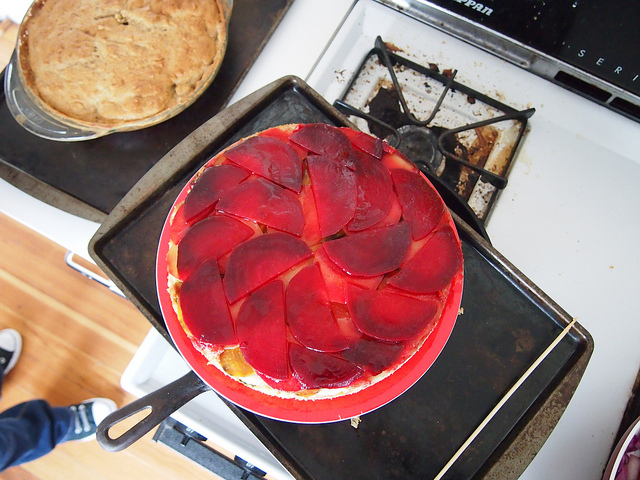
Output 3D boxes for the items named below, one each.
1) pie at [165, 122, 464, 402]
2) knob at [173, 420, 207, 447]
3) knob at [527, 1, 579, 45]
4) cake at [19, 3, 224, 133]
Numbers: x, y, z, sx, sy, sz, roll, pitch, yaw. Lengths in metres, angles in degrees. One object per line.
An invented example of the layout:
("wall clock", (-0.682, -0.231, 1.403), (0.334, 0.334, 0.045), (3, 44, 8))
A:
("pie", (-0.020, 0.033, 1.564), (0.739, 0.080, 0.719), (-26, 83, -2))
("knob", (-0.442, 0.637, 2.044), (0.075, 0.033, 0.111), (33, 96, 14))
("knob", (0.620, -0.590, 1.628), (0.116, 0.117, 0.068), (14, 82, 3))
("cake", (-0.579, -0.535, 1.762), (0.598, 0.086, 0.438), (-11, 82, 0))
